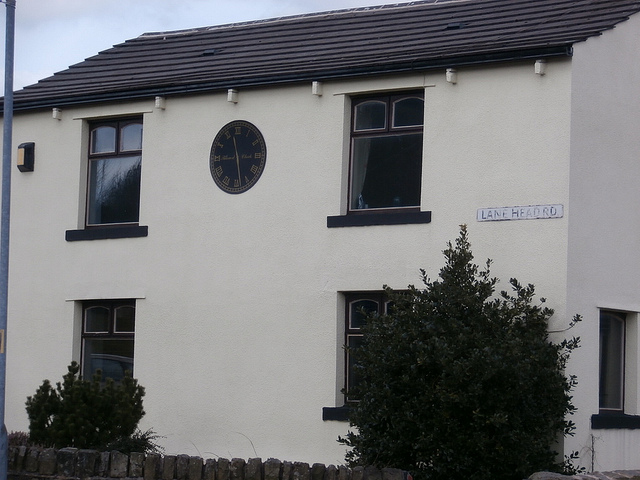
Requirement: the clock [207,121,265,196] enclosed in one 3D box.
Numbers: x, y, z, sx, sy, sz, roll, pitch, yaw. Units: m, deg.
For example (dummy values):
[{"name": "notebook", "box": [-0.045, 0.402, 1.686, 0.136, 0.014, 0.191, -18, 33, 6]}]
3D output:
[{"name": "clock", "box": [-1.434, -1.433, 29.007, 0.094, 1.288, 1.327, 9, 12, 44]}]
